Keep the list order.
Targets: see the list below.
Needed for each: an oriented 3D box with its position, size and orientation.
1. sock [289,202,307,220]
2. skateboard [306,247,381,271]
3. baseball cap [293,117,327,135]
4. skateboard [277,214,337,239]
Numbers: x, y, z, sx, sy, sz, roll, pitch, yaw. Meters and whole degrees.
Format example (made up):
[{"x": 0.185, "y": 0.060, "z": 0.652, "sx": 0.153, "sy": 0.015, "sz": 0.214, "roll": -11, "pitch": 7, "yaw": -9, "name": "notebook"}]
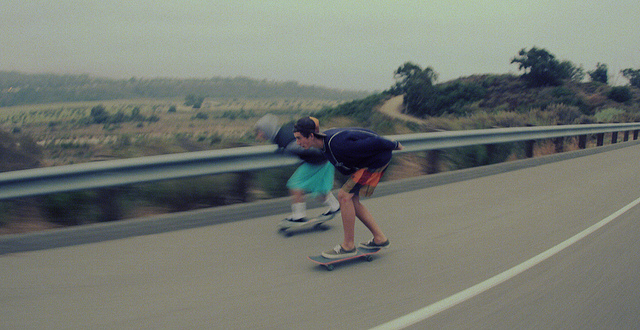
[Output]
[{"x": -0.409, "y": 0.974, "z": 11.267, "sx": 0.361, "sy": 0.343, "sz": 0.327, "roll": 5, "pitch": 5, "yaw": 28, "name": "sock"}, {"x": 0.573, "y": 1.847, "z": 10.536, "sx": 1.726, "sy": 0.255, "sz": 0.487, "roll": -3, "pitch": 11, "yaw": -23, "name": "skateboard"}, {"x": -0.191, "y": -0.769, "z": 10.334, "sx": 0.545, "sy": 0.251, "sz": 0.311, "roll": 5, "pitch": 9, "yaw": -20, "name": "baseball cap"}, {"x": -0.275, "y": 1.265, "z": 11.398, "sx": 1.325, "sy": 0.216, "sz": 0.443, "roll": -7, "pitch": 25, "yaw": -22, "name": "skateboard"}]
